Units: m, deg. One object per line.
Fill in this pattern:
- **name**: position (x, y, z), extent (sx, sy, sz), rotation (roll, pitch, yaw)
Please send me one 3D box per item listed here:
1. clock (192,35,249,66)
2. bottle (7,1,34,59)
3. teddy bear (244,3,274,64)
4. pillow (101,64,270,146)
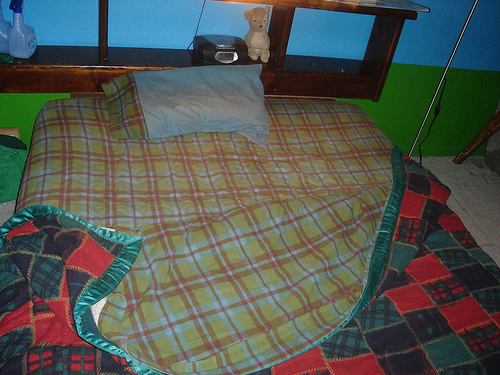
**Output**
- **clock**: position (-0.219, -0.900, 2.579), extent (0.421, 0.143, 0.226), rotation (14, 40, 9)
- **bottle**: position (-1.298, -0.883, 2.219), extent (0.121, 0.289, 0.118), rotation (5, 42, -4)
- **teddy bear**: position (0.075, -0.998, 2.604), extent (0.206, 0.333, 0.159), rotation (0, 42, -10)
- **pillow**: position (-0.363, -0.482, 2.284), extent (0.820, 0.182, 0.487), rotation (-5, 69, -16)
